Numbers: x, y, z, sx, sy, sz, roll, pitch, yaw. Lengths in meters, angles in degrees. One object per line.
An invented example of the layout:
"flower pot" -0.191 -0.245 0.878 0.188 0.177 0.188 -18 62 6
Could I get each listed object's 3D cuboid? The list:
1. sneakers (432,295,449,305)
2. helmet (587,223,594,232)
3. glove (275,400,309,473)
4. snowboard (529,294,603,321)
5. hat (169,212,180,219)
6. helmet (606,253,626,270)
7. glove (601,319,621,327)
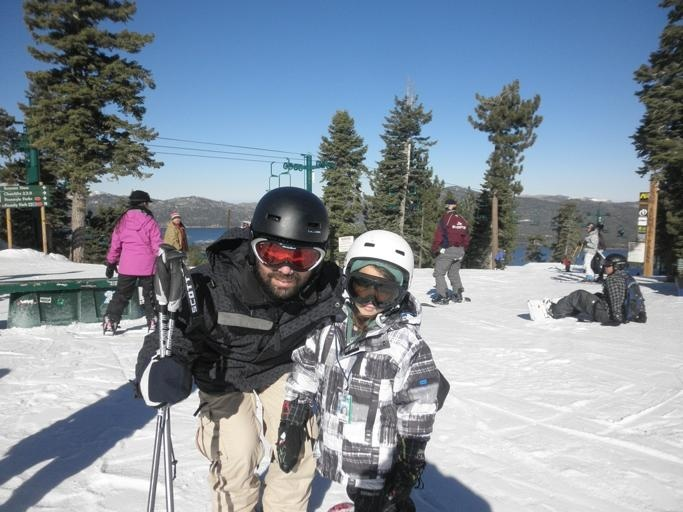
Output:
"sneakers" 2.400 1.090 13.722 0.361 0.241 0.190 -5 -3 40
"helmet" 8.330 -0.966 18.712 0.145 0.296 0.206 11 -10 -32
"glove" -0.469 1.711 5.513 0.235 0.736 0.314 18 -17 -18
"snowboard" 4.848 1.098 11.935 1.113 0.449 0.668 -3 -10 23
"hat" -3.970 -0.931 13.298 0.221 0.131 0.236 -4 4 -24
"helmet" 5.712 0.117 11.619 0.279 0.301 0.358 1 7 -24
"glove" 5.517 1.348 11.464 0.333 0.158 0.214 6 16 20
